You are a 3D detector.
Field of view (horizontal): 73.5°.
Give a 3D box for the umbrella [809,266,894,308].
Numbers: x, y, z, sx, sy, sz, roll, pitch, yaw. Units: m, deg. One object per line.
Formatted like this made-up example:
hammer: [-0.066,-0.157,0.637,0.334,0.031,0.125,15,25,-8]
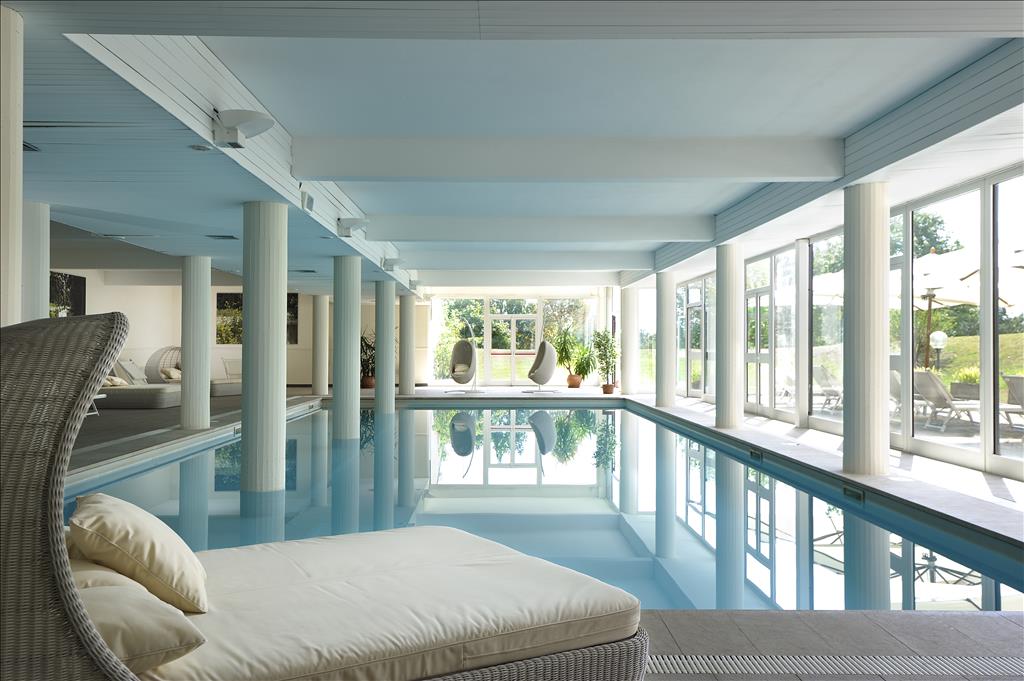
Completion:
umbrella: [4.632,-0.627,9.768,0.780,0.443,0.734,0,-4,-6]
